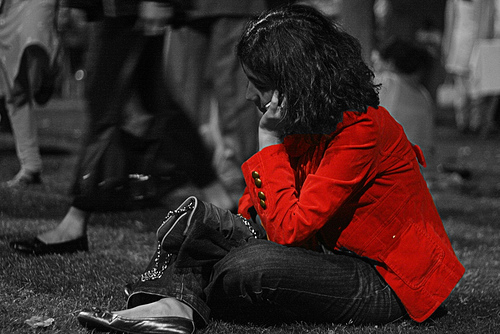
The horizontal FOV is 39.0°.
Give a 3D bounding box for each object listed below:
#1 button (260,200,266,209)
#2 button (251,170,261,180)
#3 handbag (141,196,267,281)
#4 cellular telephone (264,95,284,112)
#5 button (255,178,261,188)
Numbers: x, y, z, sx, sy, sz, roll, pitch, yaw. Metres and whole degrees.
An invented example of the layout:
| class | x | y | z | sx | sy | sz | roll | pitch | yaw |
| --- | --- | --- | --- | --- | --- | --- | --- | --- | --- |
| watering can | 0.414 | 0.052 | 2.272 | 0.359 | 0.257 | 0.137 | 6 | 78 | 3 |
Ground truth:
| class | x | y | z | sx | sy | sz | roll | pitch | yaw |
| --- | --- | --- | --- | --- | --- | --- | --- | --- | --- |
| button | 0.079 | 0.225 | 4.219 | 0.029 | 0.044 | 0.012 | -26 | -4 | 29 |
| button | 0.037 | 0.050 | 4.253 | 0.041 | 0.042 | 0.023 | -26 | -3 | 34 |
| handbag | -0.293 | 0.417 | 4.304 | 0.593 | 0.333 | 0.478 | -27 | 4 | -17 |
| cellular telephone | 0.141 | -0.377 | 4.211 | 0.047 | 0.108 | 0.161 | 2 | 9 | -33 |
| button | 0.049 | 0.099 | 4.261 | 0.026 | 0.047 | 0.036 | -23 | -6 | -38 |
